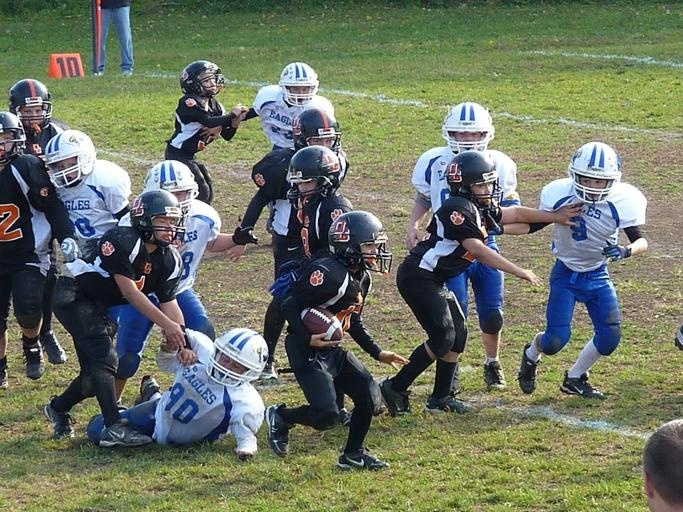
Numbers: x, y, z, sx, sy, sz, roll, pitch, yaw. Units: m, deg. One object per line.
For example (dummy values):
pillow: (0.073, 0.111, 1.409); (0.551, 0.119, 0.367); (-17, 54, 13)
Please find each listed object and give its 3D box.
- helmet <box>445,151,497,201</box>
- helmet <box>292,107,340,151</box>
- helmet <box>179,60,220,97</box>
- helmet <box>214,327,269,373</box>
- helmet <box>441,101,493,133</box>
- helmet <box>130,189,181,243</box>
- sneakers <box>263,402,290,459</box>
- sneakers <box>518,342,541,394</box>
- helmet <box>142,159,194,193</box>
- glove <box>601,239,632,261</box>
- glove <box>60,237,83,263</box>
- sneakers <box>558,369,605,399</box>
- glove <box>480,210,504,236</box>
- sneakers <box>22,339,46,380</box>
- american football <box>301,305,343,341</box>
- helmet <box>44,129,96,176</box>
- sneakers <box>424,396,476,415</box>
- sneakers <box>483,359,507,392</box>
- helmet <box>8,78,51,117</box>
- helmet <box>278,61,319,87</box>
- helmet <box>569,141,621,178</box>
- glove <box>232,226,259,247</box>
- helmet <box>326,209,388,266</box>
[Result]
helmet: (1.092, -0.693, 9.513); (0.501, 0.355, 0.364); (16, 19, 28)
helmet: (-0.234, -1.148, 10.290); (0.397, 0.347, 0.508); (-11, 22, -41)
helmet: (-1.620, -2.011, 12.710); (0.540, 0.370, 0.393); (0, 3, 10)
helmet: (-0.818, 0.772, 9.074); (0.345, 0.291, 0.407); (27, 1, 25)
helmet: (1.163, -1.283, 10.249); (0.328, 0.270, 0.359); (3, 14, 5)
helmet: (-1.506, -0.354, 9.246); (0.427, 0.397, 0.531); (-9, 13, -41)
sneakers: (-0.568, 1.441, 9.154); (0.260, 0.161, 0.482); (-1, 46, -16)
sneakers: (1.653, 1.021, 9.957); (0.183, 0.421, 0.199); (0, 3, 0)
helmet: (-1.472, -0.698, 9.835); (0.397, 0.269, 0.299); (-24, -6, 26)
glove: (2.352, -0.054, 9.553); (0.207, 0.139, 0.054); (5, 53, 6)
glove: (-2.299, -0.035, 9.509); (0.165, 0.199, 0.452); (-2, 12, -13)
sneakers: (2.144, 1.135, 9.850); (0.402, 0.211, 0.210); (7, 14, 29)
glove: (1.310, -0.299, 9.570); (0.148, 0.233, 0.287); (5, 13, 19)
sneakers: (-2.858, 0.947, 10.397); (0.166, 0.402, 0.190); (-8, 1, -19)
american football: (-0.143, 0.525, 8.912); (0.338, 0.185, 0.214); (29, 15, 14)
helmet: (-2.499, -0.957, 10.169); (0.414, 0.372, 0.525); (-2, 8, 22)
sneakers: (0.919, 1.307, 9.683); (0.461, 0.168, 0.146); (2, -1, -3)
sneakers: (1.393, 1.085, 10.121); (0.195, 0.239, 0.213); (2, 13, 6)
helmet: (-3.161, -1.619, 11.387); (0.389, 0.326, 0.445); (-6, 16, -35)
helmet: (-0.455, -1.932, 11.817); (0.338, 0.266, 0.370); (-4, 14, -21)
helmet: (2.239, -0.817, 9.830); (0.351, 0.295, 0.389); (12, 17, 7)
glove: (-0.891, -0.211, 10.369); (0.202, 0.177, 0.075); (-20, 33, -1)
helmet: (0.131, -0.149, 9.051); (0.612, 0.410, 0.417); (8, 16, 15)
